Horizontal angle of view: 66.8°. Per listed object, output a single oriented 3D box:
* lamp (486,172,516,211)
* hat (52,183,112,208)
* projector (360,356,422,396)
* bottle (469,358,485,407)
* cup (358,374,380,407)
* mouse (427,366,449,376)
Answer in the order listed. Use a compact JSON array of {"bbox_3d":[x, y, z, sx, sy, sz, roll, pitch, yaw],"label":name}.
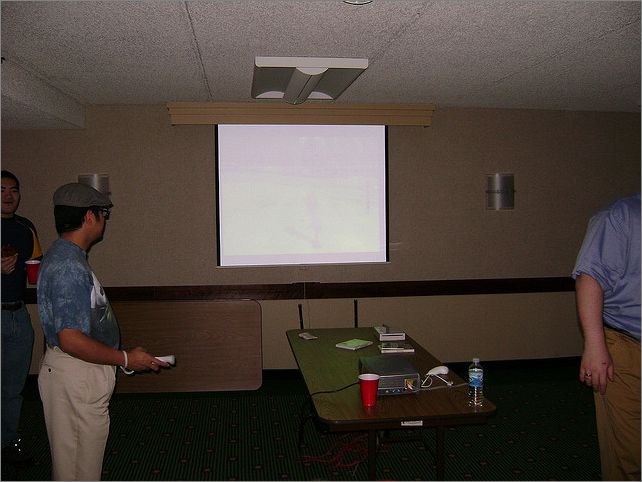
[{"bbox_3d":[2.170,-0.612,5.849,0.393,0.401,0.534,1,3,14],"label":"lamp"},{"bbox_3d":[-1.451,-0.258,2.936,0.173,0.094,0.245,6,5,38],"label":"hat"},{"bbox_3d":[0.499,0.920,3.224,0.204,0.068,0.297,-2,7,-8],"label":"projector"},{"bbox_3d":[0.993,0.923,3.087,0.092,0.207,0.193,2,9,19],"label":"bottle"},{"bbox_3d":[0.284,0.953,3.099,0.172,0.182,0.170,0,-4,0],"label":"cup"},{"bbox_3d":[0.834,0.920,3.446,0.123,0.044,0.072,-2,-1,-5],"label":"mouse"}]
